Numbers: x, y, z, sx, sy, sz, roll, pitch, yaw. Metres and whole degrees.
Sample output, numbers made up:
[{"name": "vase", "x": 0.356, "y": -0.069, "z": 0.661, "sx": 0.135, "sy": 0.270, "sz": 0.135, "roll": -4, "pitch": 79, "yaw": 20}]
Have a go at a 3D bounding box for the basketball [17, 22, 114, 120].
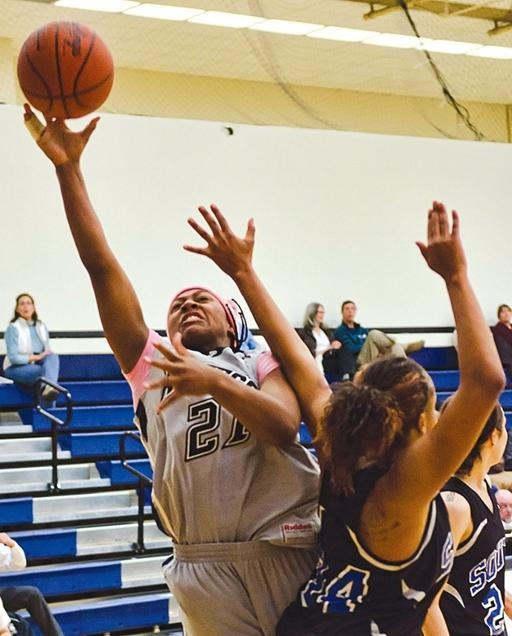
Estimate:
[{"name": "basketball", "x": -0.552, "y": -0.711, "z": 2.022, "sx": 0.277, "sy": 0.284, "sz": 0.241, "roll": 1, "pitch": -41, "yaw": -12}]
